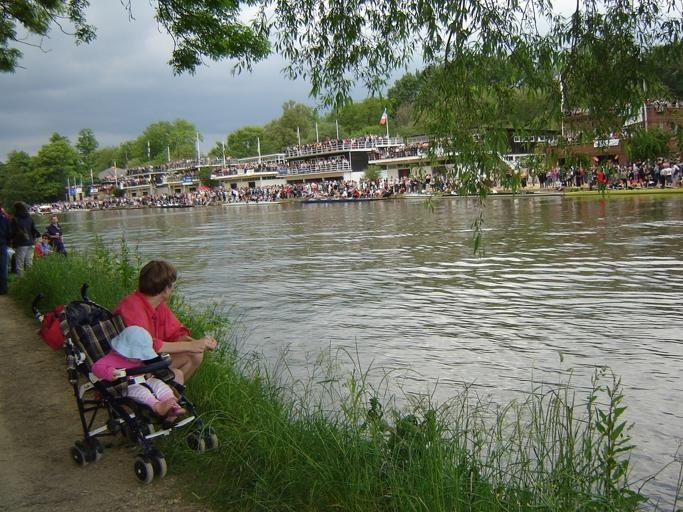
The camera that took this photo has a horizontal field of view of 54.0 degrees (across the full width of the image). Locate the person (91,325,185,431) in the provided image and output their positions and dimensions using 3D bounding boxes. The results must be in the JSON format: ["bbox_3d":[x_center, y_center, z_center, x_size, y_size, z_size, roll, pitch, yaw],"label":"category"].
[{"bbox_3d":[-1.845,1.037,6.315,1.039,0.588,0.681,20,12,34],"label":"person"}]

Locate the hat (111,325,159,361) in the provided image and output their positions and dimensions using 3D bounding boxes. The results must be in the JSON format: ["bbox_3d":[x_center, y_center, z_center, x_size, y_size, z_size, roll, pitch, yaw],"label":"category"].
[{"bbox_3d":[-1.912,0.819,6.240,0.312,0.183,0.330,3,28,-43],"label":"hat"}]
